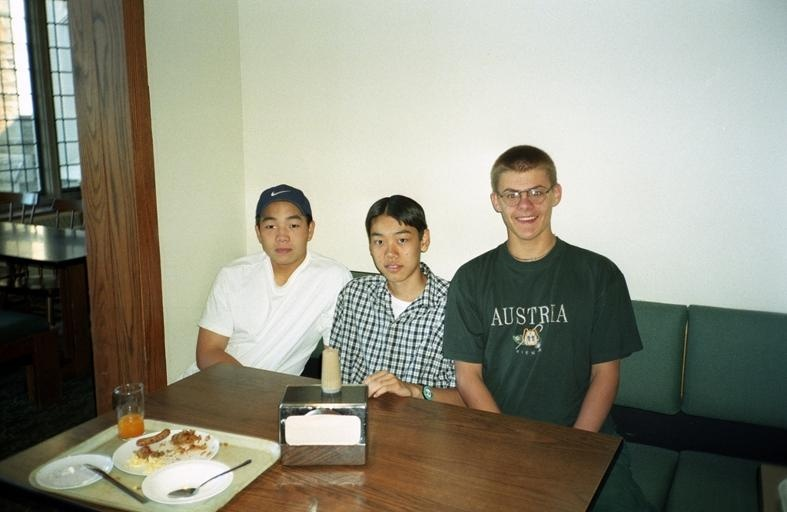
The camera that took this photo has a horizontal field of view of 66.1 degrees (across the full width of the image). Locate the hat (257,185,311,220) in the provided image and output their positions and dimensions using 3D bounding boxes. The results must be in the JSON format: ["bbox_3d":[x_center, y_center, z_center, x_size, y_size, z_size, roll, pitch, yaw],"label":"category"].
[{"bbox_3d":[-0.560,-0.264,3.094,0.279,0.196,0.122,6,6,-5],"label":"hat"}]

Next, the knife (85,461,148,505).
[{"bbox_3d":[-0.966,0.790,2.101,0.176,0.016,0.023,28,52,21],"label":"knife"}]

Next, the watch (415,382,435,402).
[{"bbox_3d":[0.140,0.592,2.652,0.051,0.021,0.067,-5,44,-19],"label":"watch"}]

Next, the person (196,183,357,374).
[{"bbox_3d":[-0.602,0.132,3.176,0.791,1.040,0.623,12,10,-6],"label":"person"}]
